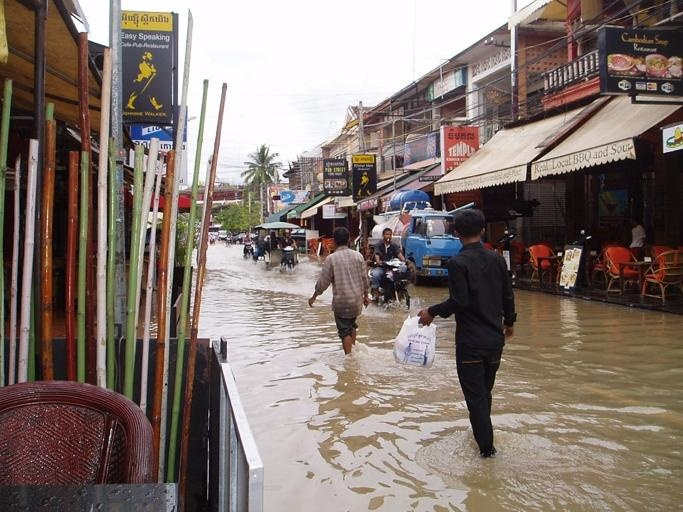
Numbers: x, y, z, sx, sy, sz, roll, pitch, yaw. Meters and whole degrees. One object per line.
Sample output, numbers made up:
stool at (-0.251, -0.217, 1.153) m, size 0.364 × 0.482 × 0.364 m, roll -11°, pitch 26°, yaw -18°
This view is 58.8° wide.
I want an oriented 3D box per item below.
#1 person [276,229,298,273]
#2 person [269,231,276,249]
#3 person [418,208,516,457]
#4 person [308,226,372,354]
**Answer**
person at (-2.296, -0.171, 26.262) m, size 0.969 × 1.169 × 1.714 m, roll 0°, pitch 7°, yaw -5°
person at (-3.388, -0.775, 30.556) m, size 0.402 × 0.843 × 1.293 m, roll -2°, pitch 4°, yaw -7°
person at (1.085, 0.619, 4.952) m, size 0.662 × 1.999 × 0.401 m, roll -4°, pitch 5°, yaw -30°
person at (0.012, 0.511, 8.263) m, size 0.820 × 1.798 × 0.543 m, roll -5°, pitch 6°, yaw -42°
